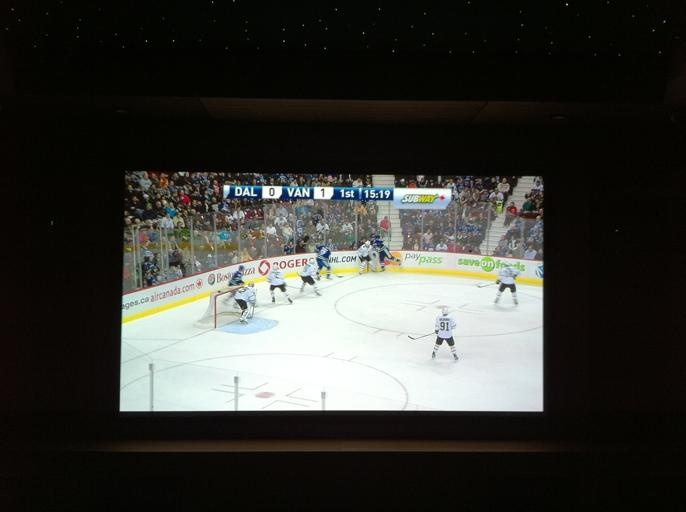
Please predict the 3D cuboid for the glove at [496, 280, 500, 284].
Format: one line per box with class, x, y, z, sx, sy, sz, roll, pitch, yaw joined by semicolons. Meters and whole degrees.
glove;2.147;0.357;7.978;0.055;0.053;0.037;-7;13;-34
